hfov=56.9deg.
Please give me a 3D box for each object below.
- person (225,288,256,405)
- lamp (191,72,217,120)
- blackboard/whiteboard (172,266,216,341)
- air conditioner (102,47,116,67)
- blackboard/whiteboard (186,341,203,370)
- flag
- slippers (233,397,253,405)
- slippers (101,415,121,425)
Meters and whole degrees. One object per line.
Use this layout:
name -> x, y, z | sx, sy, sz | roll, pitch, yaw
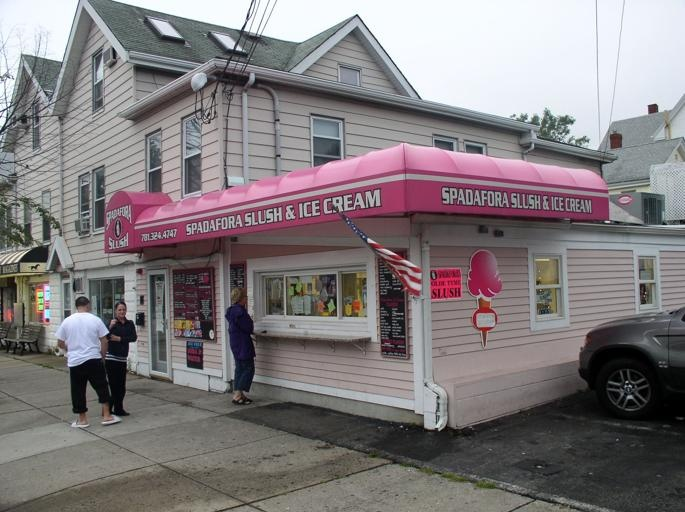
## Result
person -> -2.068, 1.811, 12.820 | 0.541, 2.331, 0.414 | -4, 5, -10
lamp -> -3.181, -3.514, 14.097 | 0.508, 1.105, 1.004 | -6, 5, -25
blackboard/whiteboard -> -3.458, 1.111, 14.829 | 0.177, 1.738, 2.186 | 1, -2, -38
air conditioner -> -6.699, -5.732, 18.109 | 0.277, 0.607, 1.185 | -5, 5, -23
blackboard/whiteboard -> -3.465, 2.303, 14.770 | 0.089, 0.756, 0.822 | -4, 2, -39
flag -> 0.569, -0.062, 10.090 | 1.050, 1.255, 1.188 | -4, 4, -8
slippers -> -2.049, 2.936, 12.856 | 0.296, 0.091, 0.163 | 0, -3, -2
slippers -> -4.277, 3.022, 11.687 | 0.152, 0.126, 0.340 | -4, -9, 17
